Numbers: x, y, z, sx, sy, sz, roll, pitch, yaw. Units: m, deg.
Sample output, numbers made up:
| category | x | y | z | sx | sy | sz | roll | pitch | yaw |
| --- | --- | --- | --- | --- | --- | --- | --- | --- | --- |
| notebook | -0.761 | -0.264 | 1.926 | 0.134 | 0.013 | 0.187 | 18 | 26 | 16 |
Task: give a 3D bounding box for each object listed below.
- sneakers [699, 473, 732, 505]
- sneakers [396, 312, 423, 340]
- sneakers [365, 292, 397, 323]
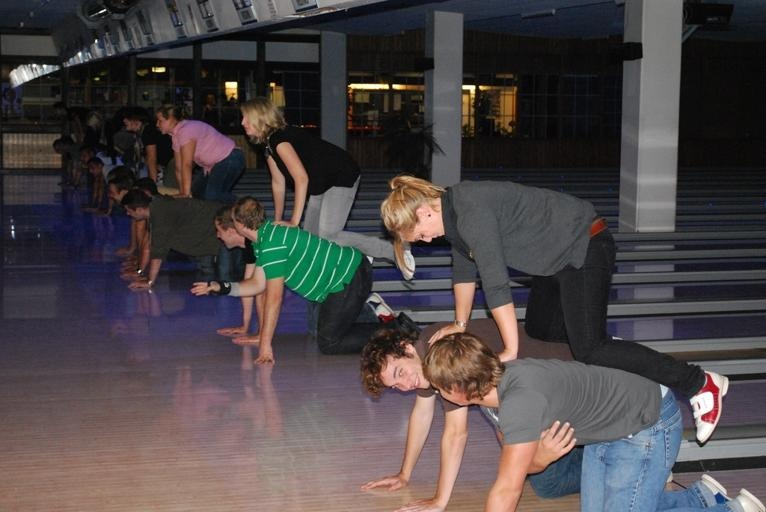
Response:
| category | x | y | z | sx | sy | sz | roll | pitch | yaw |
| --- | --- | --- | --- | --- | --- | --- | --- | --- | --- |
| sneakers | 1.289 | 0.919 | 2.402 | 0.078 | 0.116 | 0.080 | -47 | 19 | 8 |
| sneakers | 0.161 | 0.430 | 3.789 | 0.053 | 0.136 | 0.174 | -42 | 50 | -5 |
| sneakers | 0.008 | 0.325 | 4.171 | 0.078 | 0.192 | 0.190 | -32 | -13 | -43 |
